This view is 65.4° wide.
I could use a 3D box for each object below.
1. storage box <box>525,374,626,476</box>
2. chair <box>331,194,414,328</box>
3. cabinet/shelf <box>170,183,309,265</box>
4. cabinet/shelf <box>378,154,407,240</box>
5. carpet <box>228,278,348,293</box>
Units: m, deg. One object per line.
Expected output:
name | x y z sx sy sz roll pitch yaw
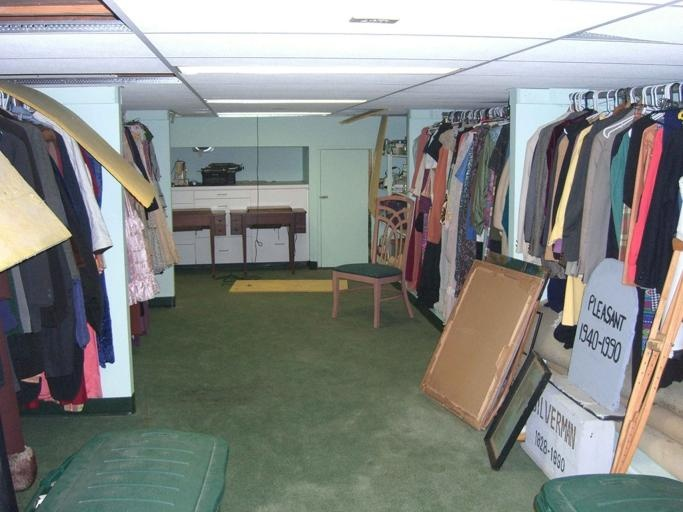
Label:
storage box | 1.322 1.072 3.170 0.251 0.478 0.565 -4 13 -18
chair | 0.395 0.025 6.037 0.754 1.380 0.728 -6 10 -39
cabinet/shelf | -1.586 -0.493 8.501 2.113 1.263 0.515 -3 13 -12
cabinet/shelf | 0.688 -0.783 7.250 0.393 1.149 1.169 -1 18 -4
carpet | -0.828 0.416 7.477 1.394 0.025 0.784 0 12 0
